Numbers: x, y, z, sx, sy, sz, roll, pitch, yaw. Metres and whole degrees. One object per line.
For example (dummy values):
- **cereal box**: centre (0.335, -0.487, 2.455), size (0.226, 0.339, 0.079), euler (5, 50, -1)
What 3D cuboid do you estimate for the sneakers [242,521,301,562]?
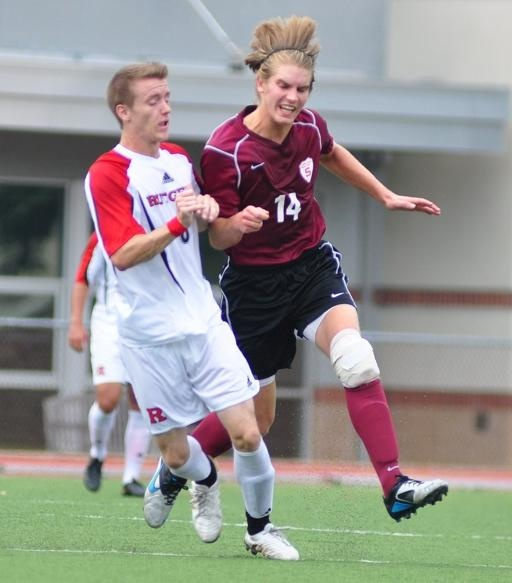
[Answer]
- **sneakers**: centre (0.065, 1.159, 6.054), size (0.239, 0.127, 0.123), euler (8, -1, 30)

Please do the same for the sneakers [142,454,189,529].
- **sneakers**: centre (-0.452, 0.996, 6.315), size (0.194, 0.447, 0.135), euler (2, -14, 22)

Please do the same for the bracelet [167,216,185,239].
- **bracelet**: centre (-0.349, -0.271, 5.653), size (0.061, 0.083, 0.080), euler (-26, 16, 33)

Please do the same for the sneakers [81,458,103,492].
- **sneakers**: centre (-0.999, 1.105, 7.936), size (0.074, 0.240, 0.100), euler (8, -23, -29)

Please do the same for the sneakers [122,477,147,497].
- **sneakers**: centre (-0.762, 1.227, 8.019), size (0.188, 0.089, 0.065), euler (-6, -10, 43)

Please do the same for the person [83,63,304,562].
- **person**: centre (-0.331, 0.115, 5.922), size (0.817, 2.265, 0.563), euler (-3, 5, -36)
